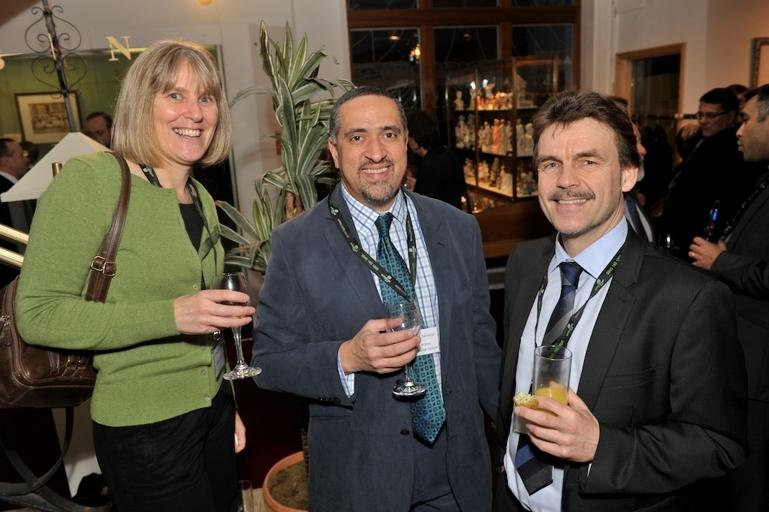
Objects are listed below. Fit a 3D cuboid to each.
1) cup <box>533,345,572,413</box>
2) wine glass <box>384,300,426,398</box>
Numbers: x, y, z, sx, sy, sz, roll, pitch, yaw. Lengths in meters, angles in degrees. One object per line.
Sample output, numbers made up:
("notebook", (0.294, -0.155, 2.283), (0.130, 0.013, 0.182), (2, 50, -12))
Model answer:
("cup", (0.637, 0.460, 2.116), (0.136, 0.210, 0.112), (1, 13, 16))
("wine glass", (0.090, 0.413, 2.314), (0.171, 0.463, 0.161), (-9, 14, -22))
